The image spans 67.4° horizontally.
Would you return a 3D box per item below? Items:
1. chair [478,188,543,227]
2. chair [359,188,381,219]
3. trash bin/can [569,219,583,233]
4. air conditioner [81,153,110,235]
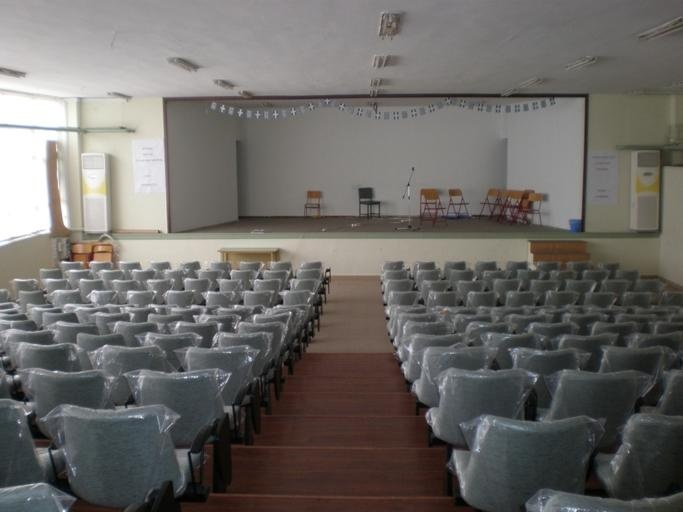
[{"bbox_3d":[4.774,-1.360,14.026,1.191,1.105,1.467,0,7,-16],"label":"chair"},{"bbox_3d":[0.873,-1.616,15.489,0.694,0.905,0.800,-2,4,3],"label":"chair"},{"bbox_3d":[5.049,-0.633,10.970,0.234,0.211,0.252,-1,2,-3],"label":"trash bin/can"},{"bbox_3d":[-5.302,-1.316,10.977,0.587,1.712,0.226,-2,4,1],"label":"air conditioner"}]
